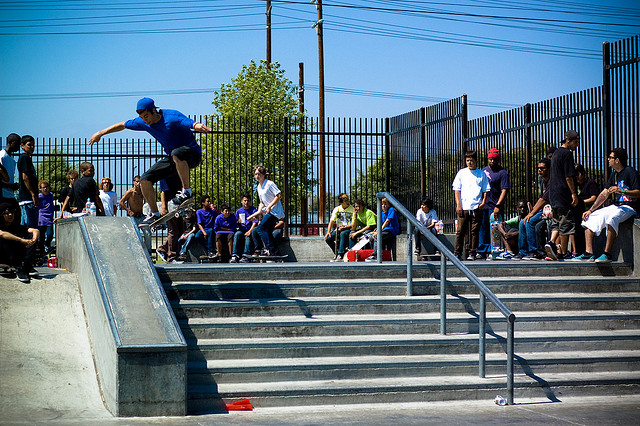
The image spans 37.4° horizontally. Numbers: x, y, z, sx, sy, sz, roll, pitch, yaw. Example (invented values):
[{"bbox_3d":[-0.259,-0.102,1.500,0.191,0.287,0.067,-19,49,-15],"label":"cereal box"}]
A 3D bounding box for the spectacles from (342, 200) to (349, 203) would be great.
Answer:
[{"bbox_3d":[0.577,-0.289,21.373,0.114,0.057,0.037,-2,6,0],"label":"spectacles"}]

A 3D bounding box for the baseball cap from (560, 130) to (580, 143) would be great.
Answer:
[{"bbox_3d":[4.890,-1.501,18.297,0.287,0.158,0.208,-4,8,-18],"label":"baseball cap"}]

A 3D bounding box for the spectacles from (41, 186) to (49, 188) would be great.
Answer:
[{"bbox_3d":[-5.887,-0.585,20.282,0.053,0.036,0.125,4,8,43],"label":"spectacles"}]

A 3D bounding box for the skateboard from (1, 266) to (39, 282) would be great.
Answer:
[{"bbox_3d":[-5.230,1.021,16.372,0.715,0.311,0.253,3,5,30],"label":"skateboard"}]

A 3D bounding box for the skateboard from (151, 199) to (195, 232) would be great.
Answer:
[{"bbox_3d":[-2.855,0.027,18.294,0.861,0.132,0.235,-36,-39,11],"label":"skateboard"}]

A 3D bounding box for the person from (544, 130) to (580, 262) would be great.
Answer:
[{"bbox_3d":[4.695,-0.356,18.354,0.601,2.520,0.787,-1,5,7],"label":"person"}]

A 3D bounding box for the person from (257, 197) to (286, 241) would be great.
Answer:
[{"bbox_3d":[-0.999,0.124,20.991,0.593,0.901,0.315,8,4,25],"label":"person"}]

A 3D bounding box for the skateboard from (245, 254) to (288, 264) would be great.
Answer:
[{"bbox_3d":[-1.141,0.933,19.972,0.269,0.167,0.877,-1,2,-35],"label":"skateboard"}]

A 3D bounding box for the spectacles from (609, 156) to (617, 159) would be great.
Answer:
[{"bbox_3d":[5.503,-1.070,17.797,0.059,0.051,0.181,-6,7,-36],"label":"spectacles"}]
